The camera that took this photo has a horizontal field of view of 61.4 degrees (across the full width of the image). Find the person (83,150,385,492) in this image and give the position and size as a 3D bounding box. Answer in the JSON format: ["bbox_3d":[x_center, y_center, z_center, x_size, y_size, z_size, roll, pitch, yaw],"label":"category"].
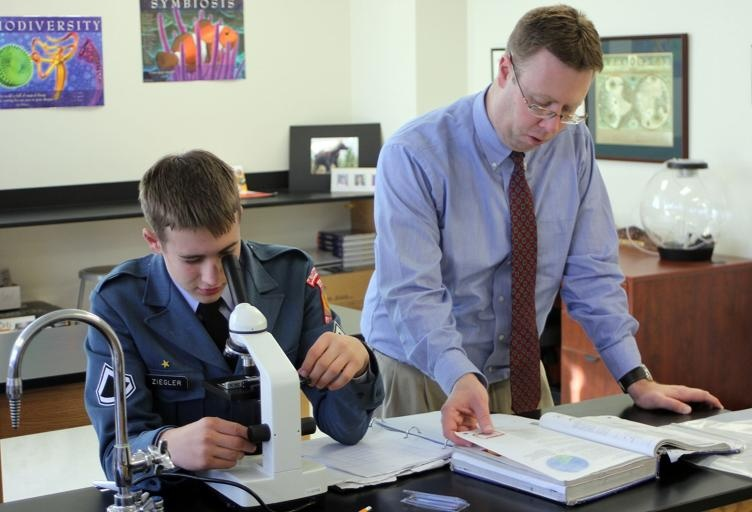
[{"bbox_3d":[-0.366,0.204,1.591,0.702,0.886,0.572,-5,8,-2],"label":"person"}]

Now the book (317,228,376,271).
[{"bbox_3d":[-0.194,-0.105,4.510,0.269,0.197,0.372,-5,9,-34],"label":"book"}]

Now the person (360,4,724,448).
[{"bbox_3d":[0.419,-0.078,1.933,0.679,1.556,0.787,-2,3,-29],"label":"person"}]

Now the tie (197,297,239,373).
[{"bbox_3d":[-0.398,0.201,1.600,0.124,0.178,0.041,-26,7,-32],"label":"tie"}]

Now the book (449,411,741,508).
[{"bbox_3d":[0.512,0.452,1.562,0.650,0.089,0.429,-5,9,-30],"label":"book"}]

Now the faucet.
[{"bbox_3d":[-0.617,0.271,1.262,0.193,0.376,0.322,-5,9,-27],"label":"faucet"}]

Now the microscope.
[{"bbox_3d":[-0.242,0.267,1.359,0.250,0.522,0.183,3,9,22],"label":"microscope"}]
